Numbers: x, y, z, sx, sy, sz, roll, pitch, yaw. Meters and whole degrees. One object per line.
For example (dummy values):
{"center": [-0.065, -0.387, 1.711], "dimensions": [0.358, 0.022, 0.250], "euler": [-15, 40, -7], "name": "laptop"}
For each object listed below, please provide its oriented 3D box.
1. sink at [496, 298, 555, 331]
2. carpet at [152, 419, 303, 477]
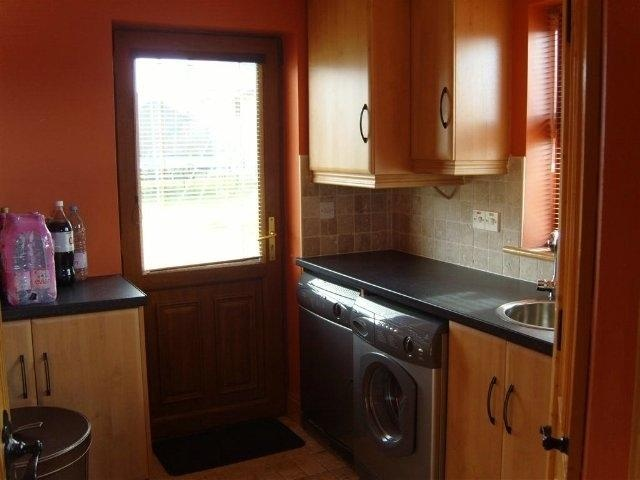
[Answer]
{"center": [0.915, 0.312, 2.569], "dimensions": [0.228, 0.100, 0.228], "euler": [-13, 11, -41], "name": "sink"}
{"center": [-0.550, 1.222, 3.458], "dimensions": [0.855, 0.073, 0.443], "euler": [-8, 10, -23], "name": "carpet"}
